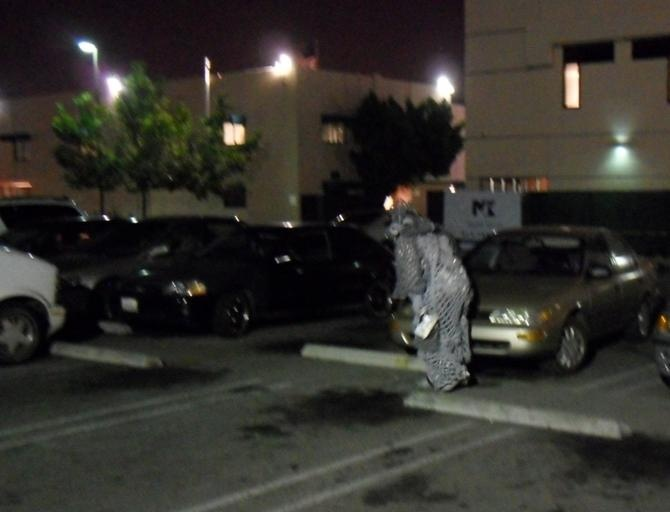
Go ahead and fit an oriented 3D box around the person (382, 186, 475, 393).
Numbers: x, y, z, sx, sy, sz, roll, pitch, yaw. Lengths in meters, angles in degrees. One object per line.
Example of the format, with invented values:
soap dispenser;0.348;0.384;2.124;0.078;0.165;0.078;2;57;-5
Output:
person;1.034;0.359;7.081;0.921;2.165;0.490;1;4;13
